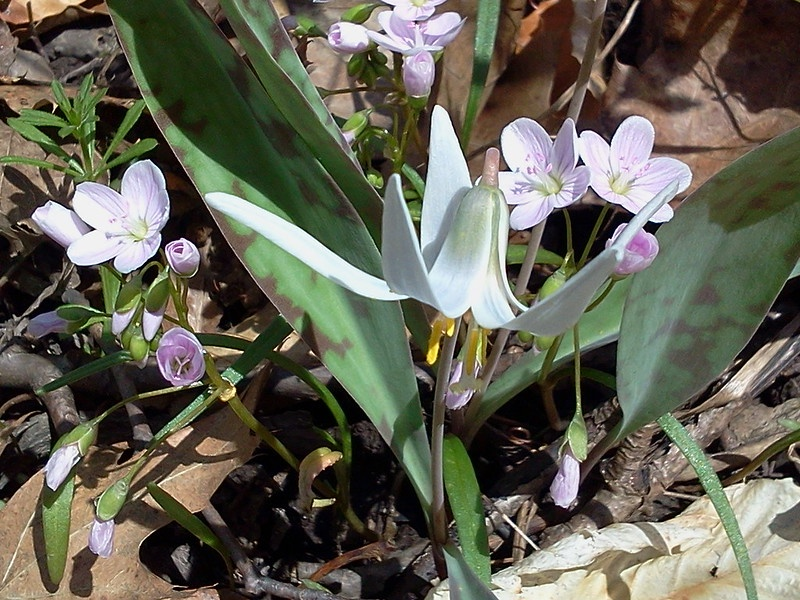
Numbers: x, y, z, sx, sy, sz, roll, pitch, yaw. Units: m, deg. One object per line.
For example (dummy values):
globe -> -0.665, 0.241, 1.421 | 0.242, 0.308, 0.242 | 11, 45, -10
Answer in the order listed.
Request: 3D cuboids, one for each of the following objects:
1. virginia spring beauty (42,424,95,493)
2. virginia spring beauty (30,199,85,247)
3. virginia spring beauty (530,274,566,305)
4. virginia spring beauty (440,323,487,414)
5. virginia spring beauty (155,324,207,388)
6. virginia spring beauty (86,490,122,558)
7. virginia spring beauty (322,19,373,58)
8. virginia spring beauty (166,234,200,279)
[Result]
virginia spring beauty -> -0.842, 0.390, 1.990 | 0.080, 0.060, 0.224 | 29, 39, -5
virginia spring beauty -> -0.881, -0.186, 1.991 | 0.089, 0.154, 0.061 | -51, 34, 6
virginia spring beauty -> 0.367, -0.025, 1.872 | 0.096, 0.056, 0.023 | -50, 36, 5
virginia spring beauty -> 0.160, 0.164, 1.827 | 0.074, 0.229, 0.052 | -5, 26, -39
virginia spring beauty -> -0.547, 0.153, 1.920 | 0.127, 0.151, 0.070 | -33, 17, -11
virginia spring beauty -> -0.768, 0.622, 1.985 | 0.046, 0.141, 0.059 | 10, 11, 44
virginia spring beauty -> -0.154, -0.773, 2.237 | 0.126, 0.055, 0.073 | 8, -17, -43
virginia spring beauty -> -0.533, -0.094, 1.869 | 0.080, 0.089, 0.082 | 13, 17, 18
